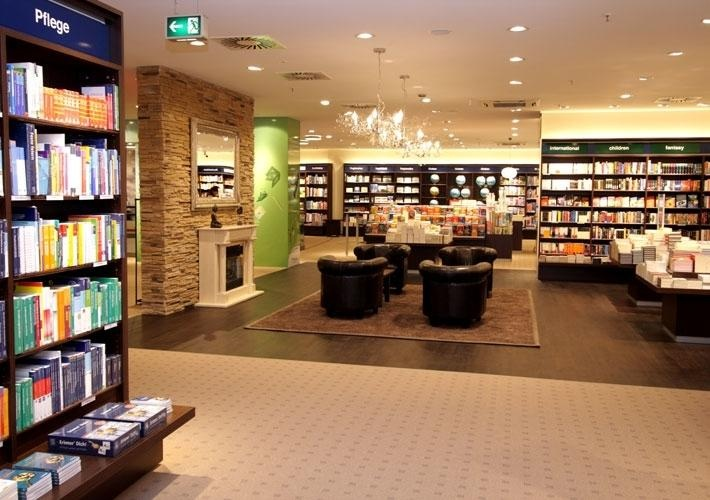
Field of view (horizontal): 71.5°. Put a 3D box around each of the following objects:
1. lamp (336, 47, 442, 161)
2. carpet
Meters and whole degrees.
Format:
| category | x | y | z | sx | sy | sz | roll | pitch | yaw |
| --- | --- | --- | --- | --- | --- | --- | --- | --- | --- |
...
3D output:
| category | x | y | z | sx | sy | sz | roll | pitch | yaw |
| --- | --- | --- | --- | --- | --- | --- | --- | --- | --- |
| lamp | 1.068 | -3.297 | 11.482 | 2.577 | 1.816 | 1.988 | 1 | 13 | -10 |
| carpet | 0.909 | 1.028 | 8.676 | 4.357 | 0.044 | 3.477 | 2 | 8 | 12 |
